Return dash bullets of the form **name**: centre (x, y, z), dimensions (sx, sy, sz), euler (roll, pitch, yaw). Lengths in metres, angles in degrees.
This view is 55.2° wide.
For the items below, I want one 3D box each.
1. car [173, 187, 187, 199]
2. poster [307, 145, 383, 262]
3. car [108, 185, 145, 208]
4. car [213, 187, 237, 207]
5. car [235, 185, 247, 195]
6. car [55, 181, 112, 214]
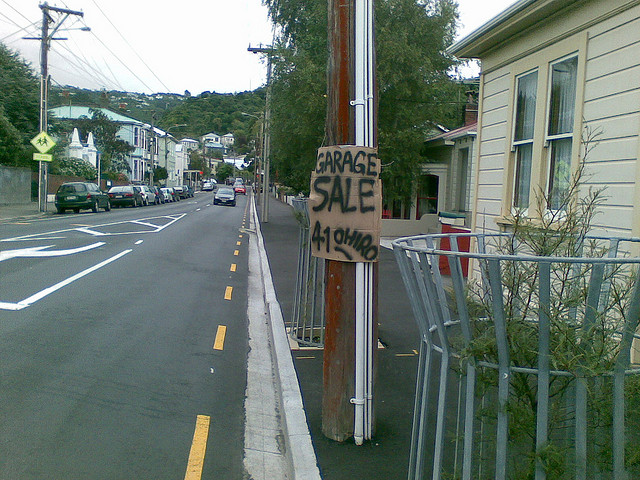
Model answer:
- **car**: centre (-13.909, -4.653, 60.535), dimensions (1.444, 1.244, 3.253), euler (0, 8, -4)
- **poster**: centre (0.177, -0.309, 5.484), dimensions (0.686, 1.049, 0.133), euler (3, -11, 2)
- **car**: centre (-12.324, -2.816, 39.183), dimensions (1.067, 0.875, 2.599), euler (0, 9, -7)
- **car**: centre (-7.704, -3.642, 50.266), dimensions (1.165, 1.013, 2.629), euler (0, 0, -3)
- **car**: centre (-11.362, -7.149, 86.589), dimensions (1.601, 1.280, 3.632), euler (1, 4, -4)
- **car**: centre (-11.485, -2.144, 30.034), dimensions (1.210, 1.084, 2.960), euler (0, 8, -3)
